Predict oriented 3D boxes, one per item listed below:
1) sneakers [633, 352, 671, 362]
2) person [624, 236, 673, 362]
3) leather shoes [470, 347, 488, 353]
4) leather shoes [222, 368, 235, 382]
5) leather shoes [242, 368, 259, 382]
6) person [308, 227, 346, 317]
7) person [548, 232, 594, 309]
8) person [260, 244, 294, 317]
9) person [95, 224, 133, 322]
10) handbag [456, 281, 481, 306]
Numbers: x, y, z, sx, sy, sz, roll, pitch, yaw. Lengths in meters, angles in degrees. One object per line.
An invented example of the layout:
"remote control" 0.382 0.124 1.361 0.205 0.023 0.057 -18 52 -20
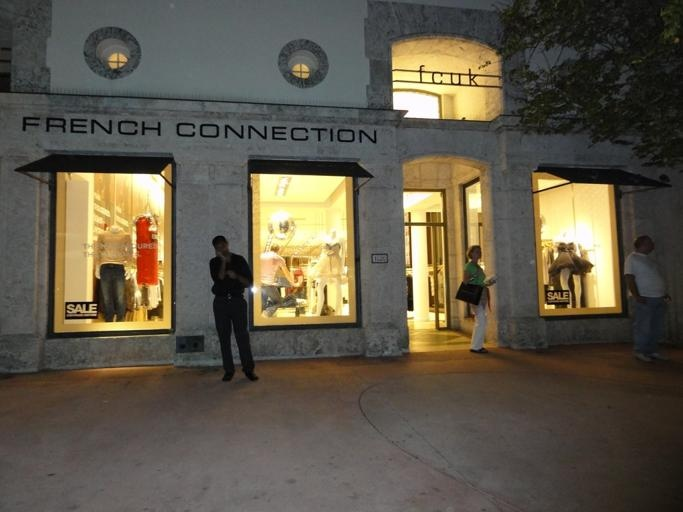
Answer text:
"sneakers" 5.805 1.899 11.441 0.558 0.227 0.191 -7 -7 26
"person" 5.654 0.782 11.393 0.762 2.291 0.442 -2 6 -12
"leather shoes" 2.821 1.916 12.547 0.251 0.094 0.137 -1 0 6
"leather shoes" -1.943 2.049 10.534 0.177 0.133 0.309 -1 -4 -6
"leather shoes" -1.550 2.011 10.483 0.256 0.197 0.308 -1 6 -7
"person" -0.300 0.343 12.767 0.707 1.675 0.561 -1 6 -4
"person" 5.281 0.223 14.163 0.846 1.773 0.591 3 -27 12
"person" -1.320 0.500 12.554 0.673 1.350 0.496 -2 6 -13
"person" -4.514 0.329 12.154 0.680 1.797 0.515 -3 6 -20
"handbag" 2.635 0.761 12.558 0.521 0.449 0.307 1 6 13
